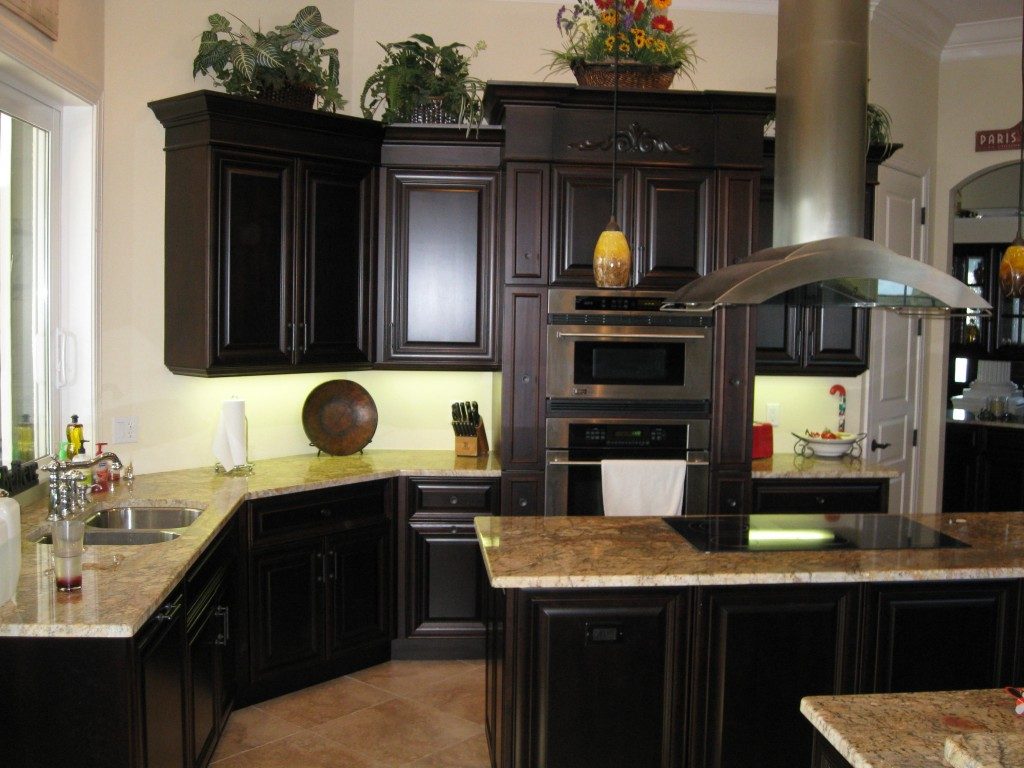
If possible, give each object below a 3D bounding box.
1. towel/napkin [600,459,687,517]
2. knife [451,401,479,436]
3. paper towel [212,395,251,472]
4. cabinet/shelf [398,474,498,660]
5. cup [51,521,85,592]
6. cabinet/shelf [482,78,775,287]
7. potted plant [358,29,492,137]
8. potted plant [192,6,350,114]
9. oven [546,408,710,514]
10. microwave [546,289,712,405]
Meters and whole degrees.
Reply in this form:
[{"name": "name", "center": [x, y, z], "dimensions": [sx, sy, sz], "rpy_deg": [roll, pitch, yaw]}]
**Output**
[{"name": "towel/napkin", "center": [0.650, 0.519, 4.756], "dimensions": [0.293, 0.287, 0.044], "rpy_deg": [0, 4, 2]}, {"name": "knife", "center": [-0.268, 0.201, 5.484], "dimensions": [0.197, 0.274, 0.046], "rpy_deg": [0, 2, 0]}, {"name": "paper towel", "center": [-1.451, 0.257, 4.924], "dimensions": [0.165, 0.386, 0.184], "rpy_deg": [-5, 14, -18]}, {"name": "cabinet/shelf", "center": [-0.359, 1.001, 5.188], "dimensions": [0.583, 0.993, 0.199], "rpy_deg": [0, 13, 2]}, {"name": "cup", "center": [-1.562, 0.594, 3.357], "dimensions": [0.118, 0.254, 0.114], "rpy_deg": [-1, 13, 0]}, {"name": "cabinet/shelf", "center": [0.607, -1.062, 5.037], "dimensions": [1.271, 1.118, 0.489], "rpy_deg": [0, 1, -7]}, {"name": "potted plant", "center": [-0.475, -1.668, 5.303], "dimensions": [0.640, 0.478, 0.552], "rpy_deg": [-1, 13, -2]}, {"name": "potted plant", "center": [-1.314, -1.591, 5.034], "dimensions": [0.640, 0.440, 0.639], "rpy_deg": [3, 9, -20]}, {"name": "oven", "center": [0.658, 0.533, 5.388], "dimensions": [0.867, 0.814, 0.568], "rpy_deg": [0, 8, 9]}, {"name": "microwave", "center": [0.623, -0.181, 5.144], "dimensions": [0.942, 0.612, 0.576], "rpy_deg": [0, 1, -5]}]
